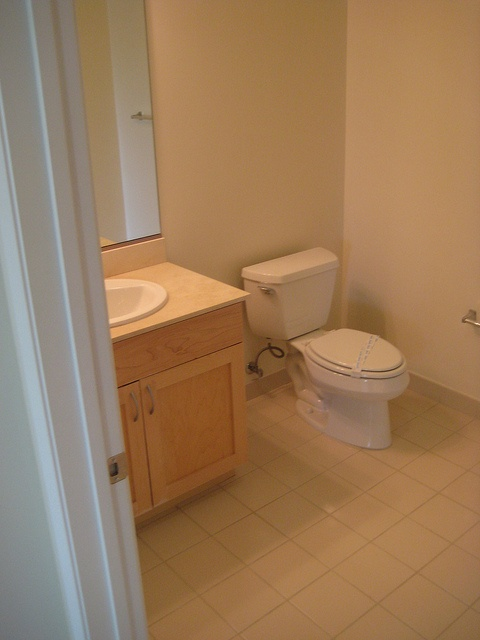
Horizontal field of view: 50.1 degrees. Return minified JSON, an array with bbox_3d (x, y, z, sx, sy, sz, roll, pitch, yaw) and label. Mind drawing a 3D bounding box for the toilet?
[{"bbox_3d":[0.434,0.156,2.509,0.502,0.806,0.803,-16,25,-31],"label":"toilet"}]
